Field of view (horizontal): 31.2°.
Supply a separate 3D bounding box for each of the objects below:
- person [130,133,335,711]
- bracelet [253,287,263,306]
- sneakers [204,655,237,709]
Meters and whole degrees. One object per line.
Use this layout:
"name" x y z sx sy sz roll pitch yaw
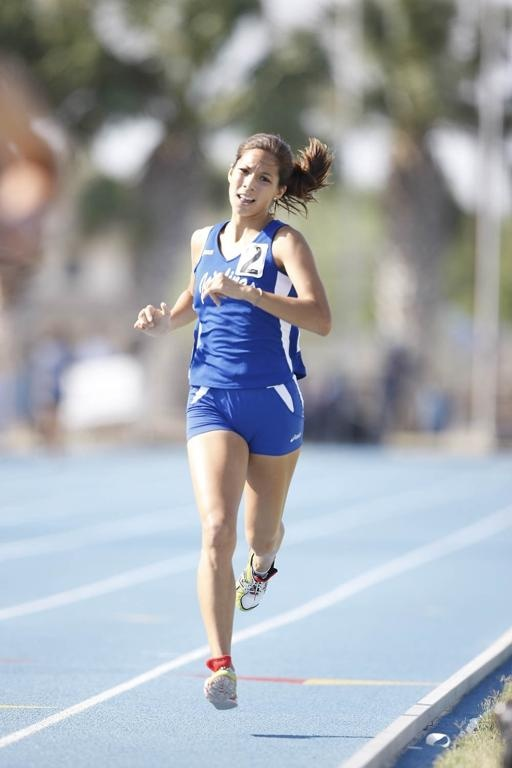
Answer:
"person" -0.068 0.150 3.060 0.626 2.075 1.354 0 9 4
"bracelet" 0.008 -0.280 2.792 0.016 0.045 0.051 11 17 0
"sneakers" -0.111 0.855 2.586 0.082 0.076 0.174 -5 -35 11
